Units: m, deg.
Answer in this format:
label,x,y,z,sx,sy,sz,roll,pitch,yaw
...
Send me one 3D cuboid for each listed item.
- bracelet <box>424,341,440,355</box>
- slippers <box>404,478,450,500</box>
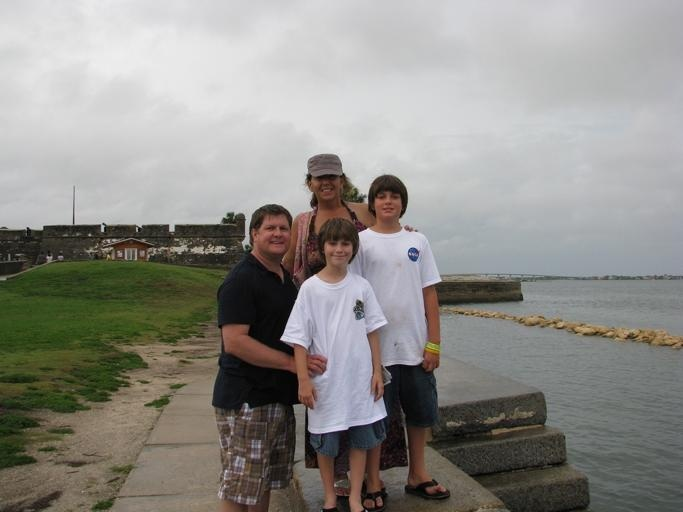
label,x,y,z,sx,sy,sz,roll,pitch,yaw
bracelet,0.740,0.750,4.271,0.107,0.069,0.107,-5,-16,43
slippers,0.685,1.872,4.205,0.265,0.084,0.145,-2,-3,16
